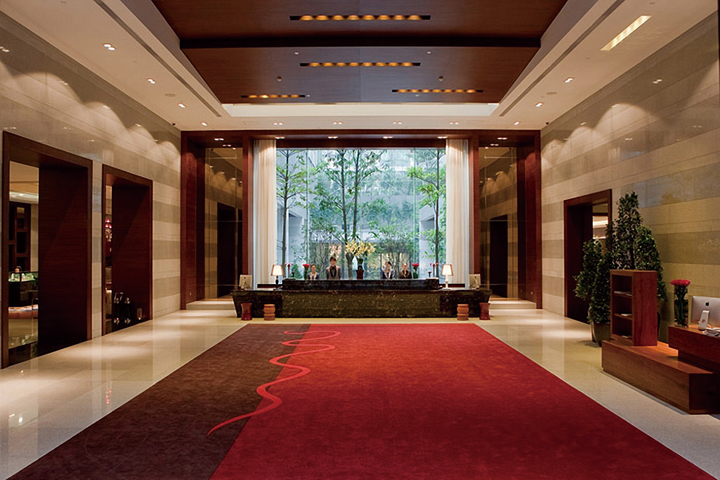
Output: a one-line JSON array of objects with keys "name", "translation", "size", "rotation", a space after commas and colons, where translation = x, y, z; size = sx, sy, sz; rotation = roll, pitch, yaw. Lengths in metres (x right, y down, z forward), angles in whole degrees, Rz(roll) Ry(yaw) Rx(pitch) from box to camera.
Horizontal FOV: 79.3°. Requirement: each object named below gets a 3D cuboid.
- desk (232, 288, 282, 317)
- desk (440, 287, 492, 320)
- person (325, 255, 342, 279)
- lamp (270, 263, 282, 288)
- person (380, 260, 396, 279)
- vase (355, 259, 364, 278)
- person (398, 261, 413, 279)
[{"name": "desk", "translation": [-2.853, 1.666, 12.110], "size": [0.987, 0.420, 0.933], "rotation": [0, -3, -3]}, {"name": "desk", "translation": [2.835, 1.645, 12.301], "size": [1.281, 0.552, 0.852], "rotation": [0, -3, -2]}, {"name": "person", "translation": [-0.826, 0.841, 13.795], "size": [0.405, 0.647, 1.019], "rotation": [0, 7, -4]}, {"name": "lamp", "translation": [-2.605, 1.088, 13.669], "size": [0.337, 0.753, 1.269], "rotation": [-1, 7, -10]}, {"name": "person", "translation": [0.916, 0.948, 13.960], "size": [0.546, 0.378, 1.179], "rotation": [-1, 30, 3]}, {"name": "vase", "translation": [0.002, 0.899, 14.296], "size": [0.239, 0.615, 0.156], "rotation": [1, 8, 3]}, {"name": "person", "translation": [1.457, 0.975, 13.927], "size": [0.386, 0.439, 0.740], "rotation": [1, 7, 5]}]
